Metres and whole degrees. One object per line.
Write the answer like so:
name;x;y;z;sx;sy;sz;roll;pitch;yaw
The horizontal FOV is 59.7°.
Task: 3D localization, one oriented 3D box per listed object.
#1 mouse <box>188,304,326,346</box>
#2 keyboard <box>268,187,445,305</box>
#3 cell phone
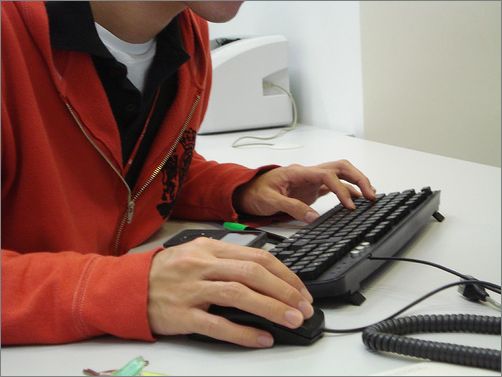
mouse;0.021;0.162;0.562;0.131;0.028;0.065;-1;15;13
keyboard;0.165;0.093;0.722;0.165;0.064;0.328;-16;12;41
cell phone;-0.069;0.092;0.835;0.132;0.017;0.073;0;12;20
